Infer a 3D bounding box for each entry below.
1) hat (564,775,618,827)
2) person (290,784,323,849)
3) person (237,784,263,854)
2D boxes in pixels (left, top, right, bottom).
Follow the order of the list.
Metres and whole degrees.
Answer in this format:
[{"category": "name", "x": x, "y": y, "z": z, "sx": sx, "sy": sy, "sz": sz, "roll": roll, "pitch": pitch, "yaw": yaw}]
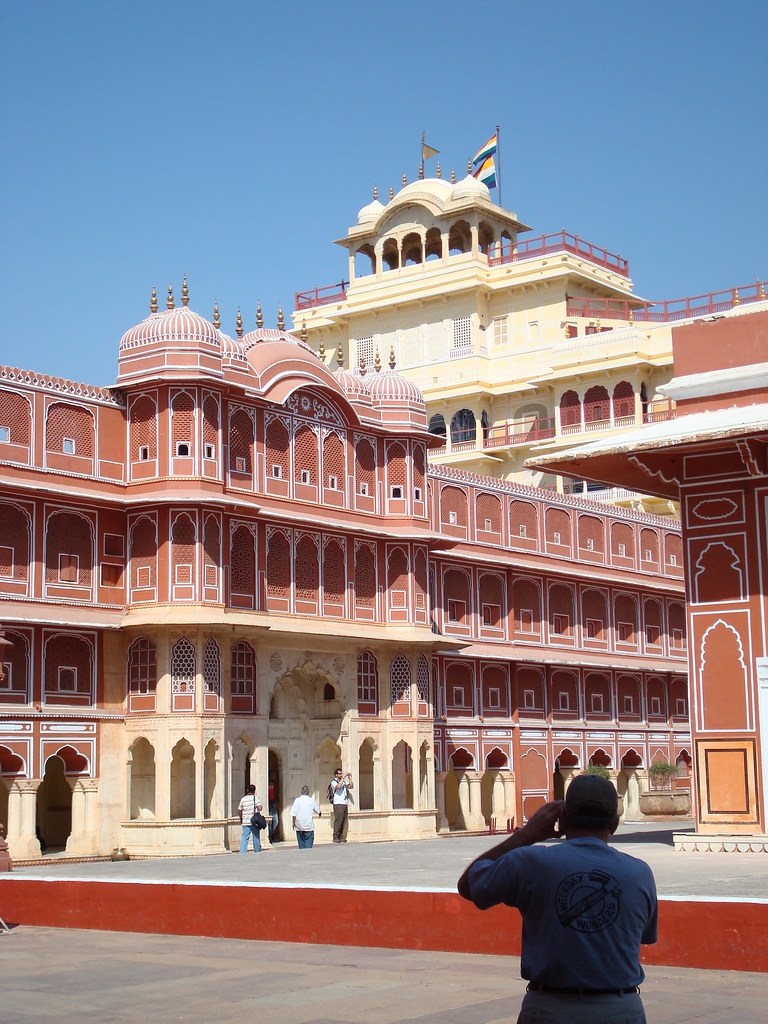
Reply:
[{"category": "hat", "x": 0.519, "y": 0.736, "z": 3.456, "sx": 0.117, "sy": 0.161, "sz": 0.154, "roll": 1, "pitch": 2, "yaw": -2}, {"category": "person", "x": -1.439, "y": 5.662, "z": 24.540, "sx": 0.510, "sy": 1.297, "sz": 0.390, "roll": 0, "pitch": 10, "yaw": -7}, {"category": "person", "x": -2.427, "y": 5.657, "z": 24.579, "sx": 0.431, "sy": 1.090, "sz": 1.795, "roll": -2, "pitch": -10, "yaw": -6}]
